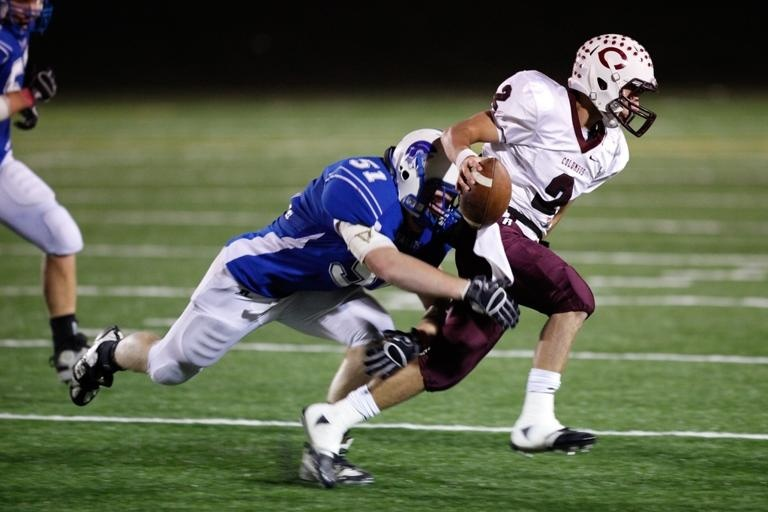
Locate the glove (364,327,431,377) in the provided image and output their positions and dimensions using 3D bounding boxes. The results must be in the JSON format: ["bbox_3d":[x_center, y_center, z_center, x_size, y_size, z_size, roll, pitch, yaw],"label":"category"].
[{"bbox_3d":[0.061,0.461,4.766,0.318,0.215,0.096,-32,16,17],"label":"glove"}]

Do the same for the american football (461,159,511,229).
[{"bbox_3d":[0.501,-0.315,4.660,0.205,0.348,0.140,1,13,-32],"label":"american football"}]

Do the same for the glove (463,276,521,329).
[{"bbox_3d":[0.547,0.229,4.624,0.087,0.274,0.237,-24,23,53],"label":"glove"}]

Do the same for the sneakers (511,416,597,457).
[{"bbox_3d":[0.816,0.915,4.674,0.423,0.187,0.158,-5,-12,16],"label":"sneakers"}]

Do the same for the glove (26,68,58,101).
[{"bbox_3d":[-2.007,-1.022,5.609,0.150,0.201,0.189,6,11,-11],"label":"glove"}]
